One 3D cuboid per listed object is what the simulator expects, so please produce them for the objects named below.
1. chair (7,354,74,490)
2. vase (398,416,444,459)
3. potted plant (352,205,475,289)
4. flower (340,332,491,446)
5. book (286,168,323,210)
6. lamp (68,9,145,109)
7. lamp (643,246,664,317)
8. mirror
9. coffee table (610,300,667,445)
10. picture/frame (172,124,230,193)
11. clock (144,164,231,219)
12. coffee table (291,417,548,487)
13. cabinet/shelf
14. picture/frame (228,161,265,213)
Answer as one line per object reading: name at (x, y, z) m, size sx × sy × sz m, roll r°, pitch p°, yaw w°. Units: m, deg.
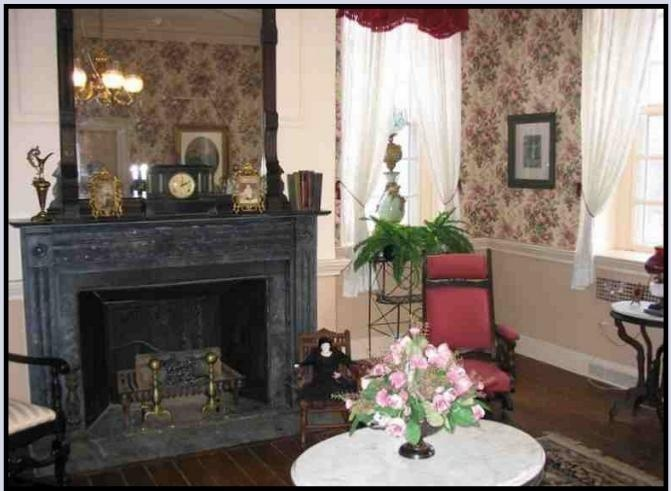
chair at (-2.054, 1.222, 3.840) m, size 0.441 × 1.008 × 0.659 m, roll -5°, pitch 7°, yaw -28°
vase at (0.481, 1.046, 3.100) m, size 0.218 × 0.210 × 0.223 m, roll 1°, pitch -6°, yaw 1°
potted plant at (0.765, -0.036, 5.759) m, size 1.224 × 0.533 × 1.272 m, roll -3°, pitch 5°, yaw -24°
flower at (0.431, 0.696, 3.158) m, size 0.656 × 0.605 × 0.654 m, roll -1°, pitch 2°, yaw -41°
book at (-0.248, -0.468, 4.629) m, size 0.291 × 0.407 × 0.317 m, roll 7°, pitch 11°, yaw 30°
lamp at (-1.713, -1.298, 4.116) m, size 0.565 × 0.845 × 0.594 m, roll -3°, pitch 12°, yaw -27°
lamp at (2.615, 0.290, 4.566) m, size 0.126 × 0.527 × 0.366 m, roll 2°, pitch 7°, yaw 30°
mirror at (-1.340, -1.017, 4.234) m, size 1.594 × 1.859 × 0.140 m, roll -4°, pitch 5°, yaw -28°
coffee table at (2.623, 0.969, 4.853) m, size 0.406 × 1.014 × 0.858 m, roll 2°, pitch 7°, yaw 29°
picture/frame at (-1.046, -0.676, 4.354) m, size 0.374 × 0.506 × 0.030 m, roll -1°, pitch -19°, yaw -12°
clock at (-1.230, -0.451, 4.386) m, size 0.576 × 0.366 × 0.305 m, roll -2°, pitch 15°, yaw -25°
coffee table at (0.503, 1.188, 3.103) m, size 0.737 × 0.182 × 0.750 m, roll -2°, pitch 1°, yaw -5°
cabinet/shelf at (0.625, 0.376, 5.991) m, size 0.396 × 1.182 × 0.574 m, roll 10°, pitch 4°, yaw 6°
picture/frame at (-0.700, -0.469, 4.438) m, size 0.352 × 0.528 × 0.343 m, roll 0°, pitch 16°, yaw -6°
